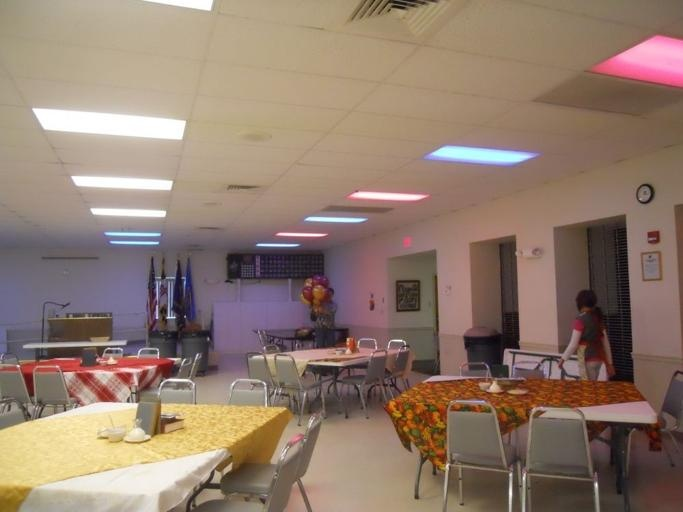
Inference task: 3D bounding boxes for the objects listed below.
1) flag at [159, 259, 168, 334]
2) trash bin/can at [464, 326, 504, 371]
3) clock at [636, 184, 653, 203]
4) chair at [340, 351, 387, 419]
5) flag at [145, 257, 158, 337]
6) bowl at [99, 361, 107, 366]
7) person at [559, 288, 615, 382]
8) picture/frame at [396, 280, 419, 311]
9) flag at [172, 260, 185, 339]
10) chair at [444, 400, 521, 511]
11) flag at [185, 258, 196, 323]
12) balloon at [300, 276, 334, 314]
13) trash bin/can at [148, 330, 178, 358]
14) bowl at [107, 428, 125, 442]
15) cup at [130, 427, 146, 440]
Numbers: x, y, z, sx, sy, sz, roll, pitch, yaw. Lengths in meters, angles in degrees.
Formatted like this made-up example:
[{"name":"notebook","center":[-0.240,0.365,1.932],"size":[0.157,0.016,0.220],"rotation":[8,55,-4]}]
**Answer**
[{"name":"flag","center":[-5.465,1.091,14.748],"size":[0.279,2.210,1.044],"rotation":[1,-5,-20]},{"name":"trash bin/can","center":[2.411,1.624,8.649],"size":[0.795,0.834,0.845],"rotation":[-5,-6,34]},{"name":"clock","center":[3.908,-0.797,6.147],"size":[0.057,0.266,0.218],"rotation":[1,-6,-25]},{"name":"chair","center":[0.376,1.999,7.966],"size":[0.737,0.948,1.907],"rotation":[-1,-5,-1]},{"name":"flag","center":[-5.701,1.055,14.458],"size":[0.294,2.225,0.955],"rotation":[1,-5,-23]},{"name":"bowl","center":[-3.565,1.603,7.198],"size":[0.093,0.063,0.049],"rotation":[-3,-2,9]},{"name":"person","center":[2.994,0.960,5.865],"size":[0.473,1.101,0.732],"rotation":[-5,-6,38]},{"name":"picture/frame","center":[1.666,1.009,12.246],"size":[0.773,0.790,0.059],"rotation":[3,-7,-31]},{"name":"flag","center":[-4.948,1.151,14.728],"size":[0.362,2.148,0.997],"rotation":[1,-5,-20]},{"name":"chair","center":[1.263,1.759,4.319],"size":[0.645,1.030,0.844],"rotation":[-3,-5,20]},{"name":"flag","center":[-4.726,1.016,15.092],"size":[0.317,1.959,0.462],"rotation":[1,-5,-19]},{"name":"balloon","center":[-0.778,0.977,12.959],"size":[0.936,0.873,0.868],"rotation":[28,11,26]},{"name":"trash bin/can","center":[-4.316,2.145,11.839],"size":[0.641,0.655,0.634],"rotation":[-2,-6,11]},{"name":"bowl","center":[-1.693,1.341,3.610],"size":[0.096,0.070,0.095],"rotation":[0,-4,0]},{"name":"cup","center":[-1.515,1.304,3.587],"size":[0.087,0.079,0.084],"rotation":[-1,-2,0]}]
